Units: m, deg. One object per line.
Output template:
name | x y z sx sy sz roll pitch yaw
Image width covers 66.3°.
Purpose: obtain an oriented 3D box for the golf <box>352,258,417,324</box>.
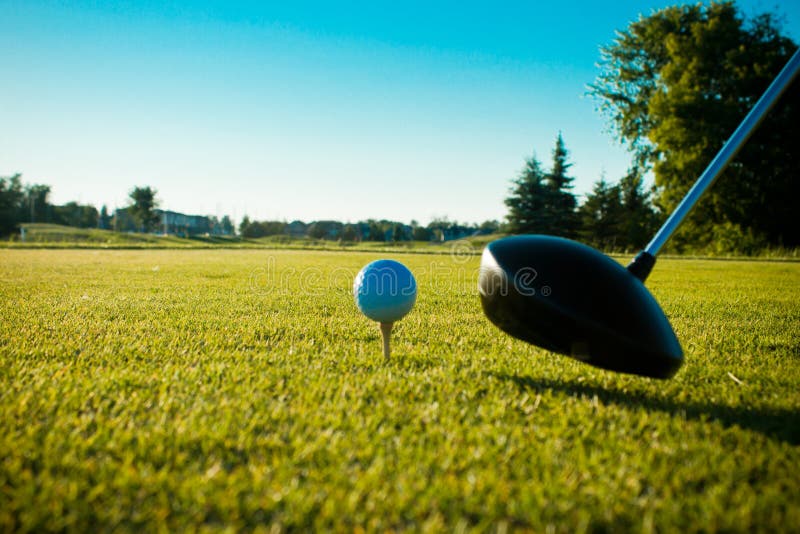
golf | -0.115 0.144 5.419 0.521 0.550 0.648 9 15 25
